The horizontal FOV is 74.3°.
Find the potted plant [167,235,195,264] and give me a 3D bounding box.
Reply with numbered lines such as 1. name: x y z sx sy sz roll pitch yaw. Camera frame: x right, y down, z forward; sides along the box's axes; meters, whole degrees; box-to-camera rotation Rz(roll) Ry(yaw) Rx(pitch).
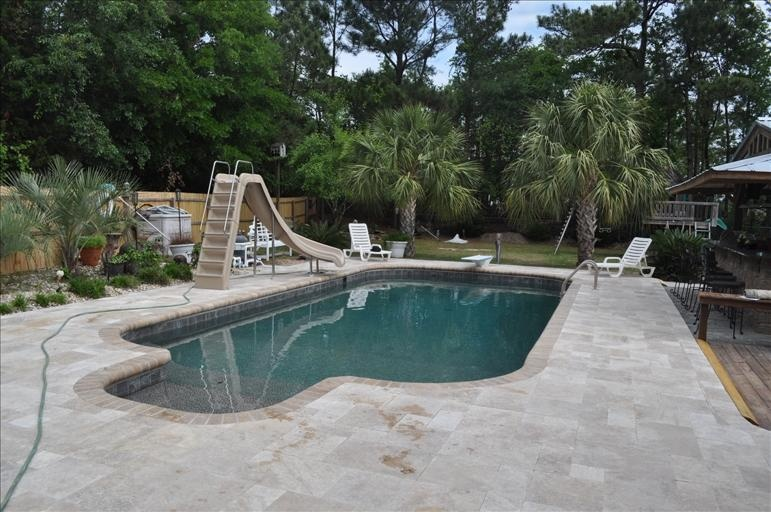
1. potted plant: -5.432 -0.164 13.435 0.564 0.894 0.805 -2 0 26

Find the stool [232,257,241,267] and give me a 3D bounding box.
1. stool: -4.022 0.163 13.807 0.224 0.318 0.425 -6 14 -31

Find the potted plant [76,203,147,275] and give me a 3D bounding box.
1. potted plant: -6.266 -0.288 11.522 1.400 1.797 1.713 3 0 2

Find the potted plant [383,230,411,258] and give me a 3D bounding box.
1. potted plant: 0.410 -0.409 17.909 0.860 0.654 0.886 1 -2 -2

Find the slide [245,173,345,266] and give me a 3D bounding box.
1. slide: -2.403 -0.882 12.597 2.454 2.287 0.991 -6 14 -31
